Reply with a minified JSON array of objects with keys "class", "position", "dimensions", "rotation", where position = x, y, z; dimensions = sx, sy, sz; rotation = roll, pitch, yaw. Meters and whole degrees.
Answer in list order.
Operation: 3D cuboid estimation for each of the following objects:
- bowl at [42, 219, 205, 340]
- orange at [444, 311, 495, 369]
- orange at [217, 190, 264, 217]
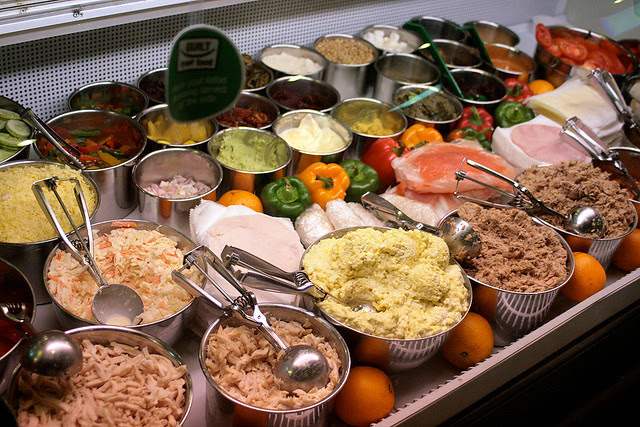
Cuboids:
[{"class":"bowl","position":[-0.865,0.253,2.283],"dimensions":[0.572,0.233,0.600],"rotation":[9,46,-10]},{"class":"orange","position":[0.729,0.609,2.428],"dimensions":[0.237,0.267,0.250],"rotation":[1,17,21]},{"class":"orange","position":[-0.427,-0.072,2.725],"dimensions":[0.165,0.157,0.155],"rotation":[4,9,-11]}]
